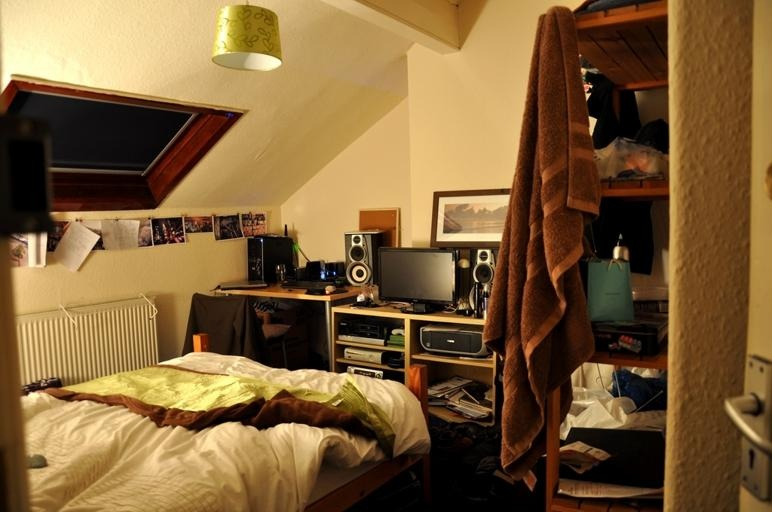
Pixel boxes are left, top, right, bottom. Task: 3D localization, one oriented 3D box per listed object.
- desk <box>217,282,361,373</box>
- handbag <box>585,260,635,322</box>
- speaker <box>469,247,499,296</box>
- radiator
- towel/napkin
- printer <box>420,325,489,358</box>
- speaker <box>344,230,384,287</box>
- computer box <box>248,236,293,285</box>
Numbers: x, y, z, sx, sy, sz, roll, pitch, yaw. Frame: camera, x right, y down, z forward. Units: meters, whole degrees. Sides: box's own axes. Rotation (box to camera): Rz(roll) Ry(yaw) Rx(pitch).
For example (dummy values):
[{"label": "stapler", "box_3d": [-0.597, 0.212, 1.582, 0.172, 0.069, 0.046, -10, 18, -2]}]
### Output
[{"label": "desk", "box_3d": [-0.682, 0.335, 4.668, 1.324, 0.889, 0.841, 0, 2, 35]}, {"label": "handbag", "box_3d": [0.733, 0.111, 1.913, 0.148, 0.194, 0.072, -2, -3, 39]}, {"label": "speaker", "box_3d": [0.645, 0.067, 3.836, 0.158, 0.242, 0.147, -3, 9, 8]}, {"label": "radiator", "box_3d": [-2.087, 0.584, 4.101, 0.357, 0.569, 1.123, 6, 8, 37]}, {"label": "towel/napkin", "box_3d": [0.491, -0.061, 1.877, 0.264, 1.626, 0.274, -10, 19, -15]}, {"label": "printer", "box_3d": [0.472, 0.564, 3.924, 0.431, 0.186, 0.297, 2, -4, 24]}, {"label": "speaker", "box_3d": [-0.166, 0.015, 4.655, 0.269, 0.418, 0.262, 2, 6, 35]}, {"label": "computer box", "box_3d": [-1.022, -0.005, 5.279, 0.364, 0.436, 0.310, 6, 5, 18]}]
